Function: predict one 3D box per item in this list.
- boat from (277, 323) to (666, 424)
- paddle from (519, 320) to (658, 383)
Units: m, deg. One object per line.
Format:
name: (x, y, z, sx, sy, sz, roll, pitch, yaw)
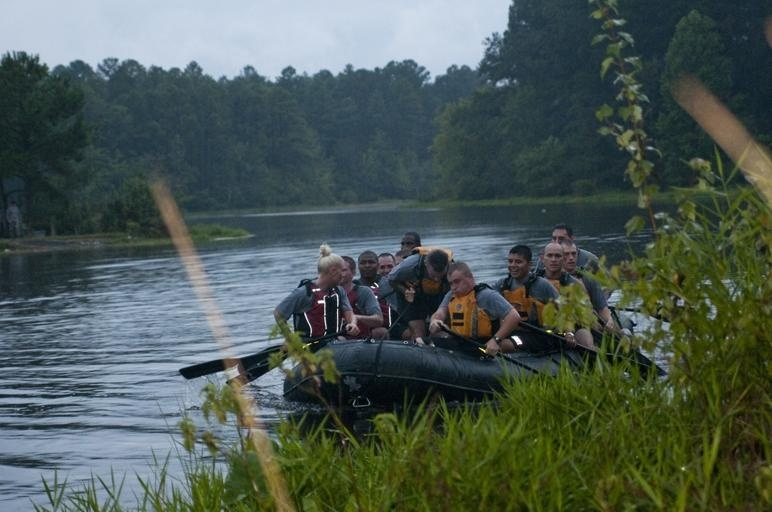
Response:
boat: (0.566, 1.807, 15.195, 3.972, 0.818, 2.221, -1, -2, -25)
paddle: (2.670, 1.327, 13.450, 1.455, 0.399, 0.419, 32, -5, -6)
